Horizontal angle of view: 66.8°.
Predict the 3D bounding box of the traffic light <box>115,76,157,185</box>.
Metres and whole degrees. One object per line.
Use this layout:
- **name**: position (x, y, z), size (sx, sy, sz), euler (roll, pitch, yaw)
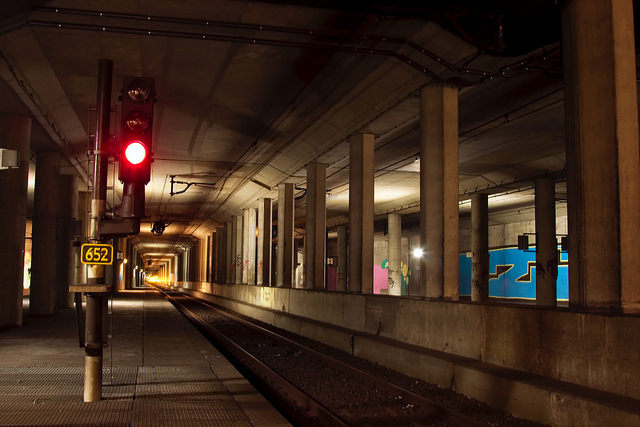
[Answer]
- **traffic light**: position (-3.052, -1.440, 8.036), size (0.574, 1.905, 0.519), euler (5, -10, -24)
